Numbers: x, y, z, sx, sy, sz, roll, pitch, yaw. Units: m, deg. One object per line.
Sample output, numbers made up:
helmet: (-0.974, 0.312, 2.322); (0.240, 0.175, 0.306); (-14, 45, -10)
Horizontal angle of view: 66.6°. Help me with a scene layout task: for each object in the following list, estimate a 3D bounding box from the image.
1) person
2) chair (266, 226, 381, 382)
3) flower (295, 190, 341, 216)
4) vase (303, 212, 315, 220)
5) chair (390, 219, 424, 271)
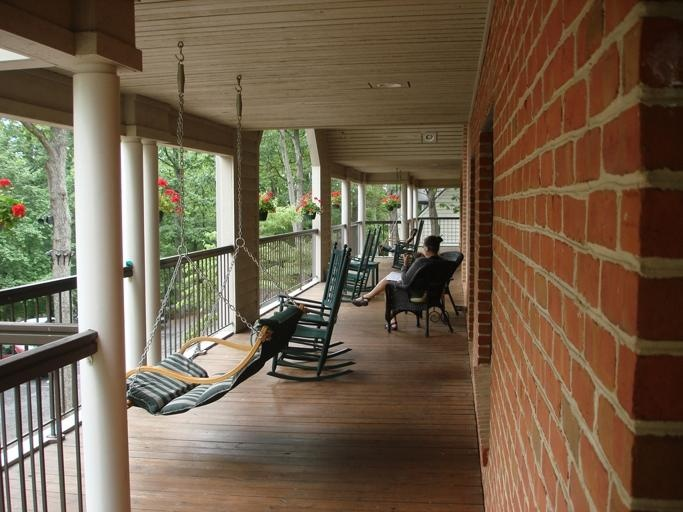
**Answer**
person: (0.820, 0.262, 7.645); (1.291, 1.357, 0.712); (17, 14, 31)
chair: (-0.269, 0.718, 6.448); (1.384, 2.114, 1.107); (5, 0, 6)
flower: (-0.713, -1.150, 12.092); (0.744, 0.580, 1.354); (-11, 2, 14)
vase: (-0.722, -0.905, 11.716); (0.158, 0.111, 0.158); (-1, 2, 18)
chair: (1.567, -0.365, 13.555); (0.724, 1.195, 0.757); (1, 5, 2)
